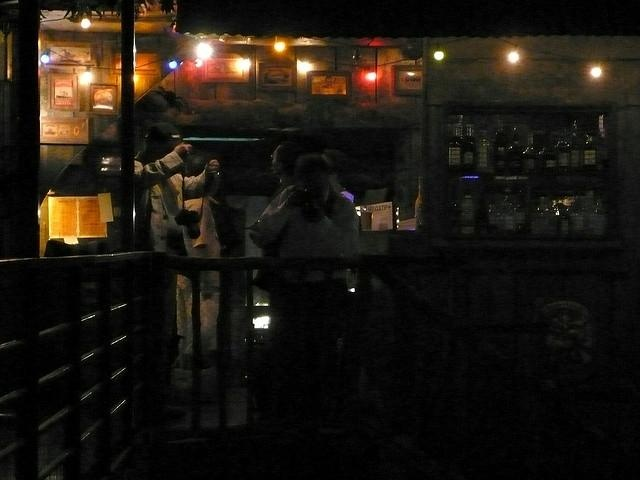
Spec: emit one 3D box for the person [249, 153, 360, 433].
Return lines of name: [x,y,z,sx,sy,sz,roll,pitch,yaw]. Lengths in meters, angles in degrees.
person: [-0.079,0.204,3.678,0.480,1.167,0.278,2,4,-4]

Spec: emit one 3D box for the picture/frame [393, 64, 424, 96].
picture/frame: [0.374,-0.706,3.665,0.155,0.125,0.103,-4,9,-25]

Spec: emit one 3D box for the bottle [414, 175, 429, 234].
bottle: [0.443,-0.154,3.628,0.048,0.231,0.023,0,5,-24]

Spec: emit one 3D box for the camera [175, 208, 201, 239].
camera: [-0.641,-0.076,4.014,0.120,0.141,0.065,-6,-2,14]

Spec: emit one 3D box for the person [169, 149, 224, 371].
person: [-0.570,0.090,3.797,0.188,0.916,0.521,1,5,-13]

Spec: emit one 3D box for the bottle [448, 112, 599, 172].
bottle: [0.914,-0.427,3.649,0.690,0.287,0.221,3,5,10]
